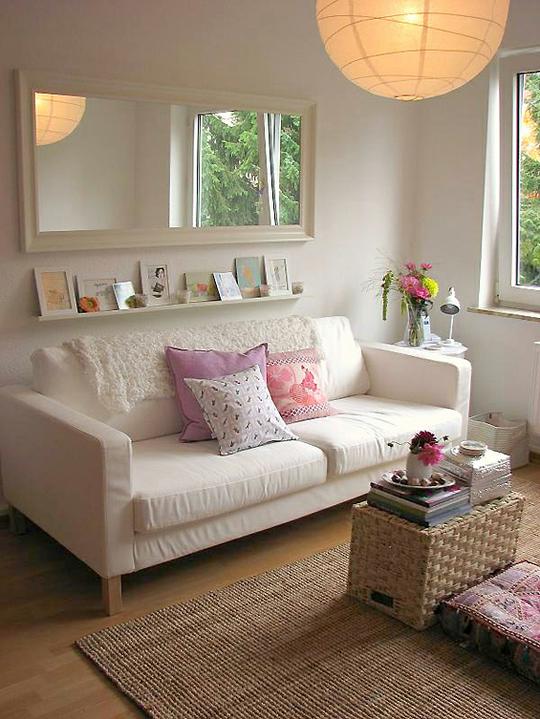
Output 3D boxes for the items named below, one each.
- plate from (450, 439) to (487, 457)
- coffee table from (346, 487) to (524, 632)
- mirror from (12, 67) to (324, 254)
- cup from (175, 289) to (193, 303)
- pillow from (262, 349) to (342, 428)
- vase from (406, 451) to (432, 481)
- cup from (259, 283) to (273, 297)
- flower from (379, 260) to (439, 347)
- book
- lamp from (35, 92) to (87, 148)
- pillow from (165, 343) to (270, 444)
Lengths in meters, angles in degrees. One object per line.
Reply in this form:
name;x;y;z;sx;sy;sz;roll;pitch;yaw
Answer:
plate;0.734;0.319;2.167;0.100;0.021;0.062;-4;9;-27
coffee table;0.670;0.675;2.133;0.699;0.370;0.408;-3;1;-22
mirror;-0.416;-0.953;2.966;0.070;0.753;1.780;20;27;40
cup;-0.430;-0.325;2.990;0.071;0.057;0.075;0;16;0
pillow;0.116;0.129;2.910;0.372;0.324;0.115;-8;-17;-44
vase;0.485;0.356;2.033;0.094;0.083;0.094;10;14;43
cup;-0.027;-0.389;3.332;0.075;0.057;0.066;-4;15;-16
flower;0.895;-0.349;3.719;0.308;0.499;0.381;-6;12;-14
book;0.464;0.452;1.957;0.191;0.043;0.182;-10;15;-44
lamp;-0.874;-1.018;2.570;0.239;0.146;0.222;-4;10;-16
pillow;-0.198;0.139;2.689;0.553;0.407;0.207;-2;5;-38
